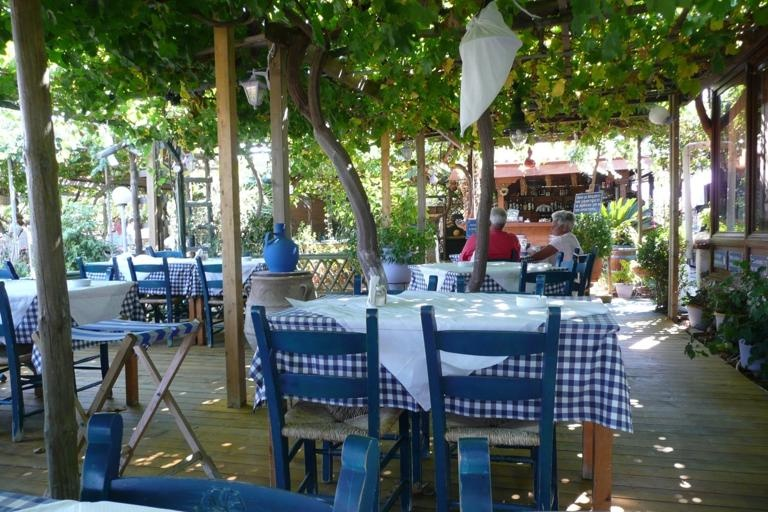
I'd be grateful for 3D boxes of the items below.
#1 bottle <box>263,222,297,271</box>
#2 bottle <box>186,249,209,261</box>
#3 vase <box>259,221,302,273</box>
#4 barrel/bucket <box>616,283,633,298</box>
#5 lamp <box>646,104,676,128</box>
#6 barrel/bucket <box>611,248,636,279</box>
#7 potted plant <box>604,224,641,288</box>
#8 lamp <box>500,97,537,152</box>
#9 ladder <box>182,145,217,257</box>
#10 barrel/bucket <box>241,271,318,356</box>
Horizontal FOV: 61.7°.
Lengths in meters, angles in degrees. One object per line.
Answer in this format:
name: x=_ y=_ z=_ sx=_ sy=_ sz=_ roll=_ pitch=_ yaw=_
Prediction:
bottle: x=-0.914 y=-0.091 z=5.706 sx=0.365 sy=0.519 sz=0.366 roll=0 pitch=6 yaw=0
bottle: x=-2.622 y=-0.017 z=9.003 sx=0.233 sy=0.215 sz=0.240 roll=2 pitch=2 yaw=2
vase: x=-0.909 y=-0.088 z=5.613 sx=0.381 sy=0.544 sz=0.384 roll=-2 pitch=7 yaw=-13
barrel/bucket: x=4.151 y=0.596 z=11.138 sx=0.287 sy=0.259 sz=0.239 roll=3 pitch=7 yaw=19
lamp: x=3.654 y=-1.913 z=8.522 sx=0.260 sy=0.301 sz=0.453 roll=1 pitch=1 yaw=27
barrel/bucket: x=4.388 y=0.115 z=11.923 sx=0.455 sy=0.472 sz=0.473 roll=1 pitch=-3 yaw=0
potted plant: x=4.438 y=-0.057 z=12.086 sx=0.933 sy=1.097 sz=0.967 roll=3 pitch=7 yaw=13
lamp: x=1.525 y=-1.509 z=7.246 sx=0.402 sy=0.651 sz=0.409 roll=-2 pitch=5 yaw=-18
ladder: x=-3.381 y=-1.095 z=11.955 sx=0.581 sy=2.200 sz=6.175 roll=0 pitch=0 yaw=-15
barrel/bucket: x=-0.846 y=0.488 z=5.745 sx=0.638 sy=0.793 sz=0.623 roll=1 pitch=1 yaw=0
